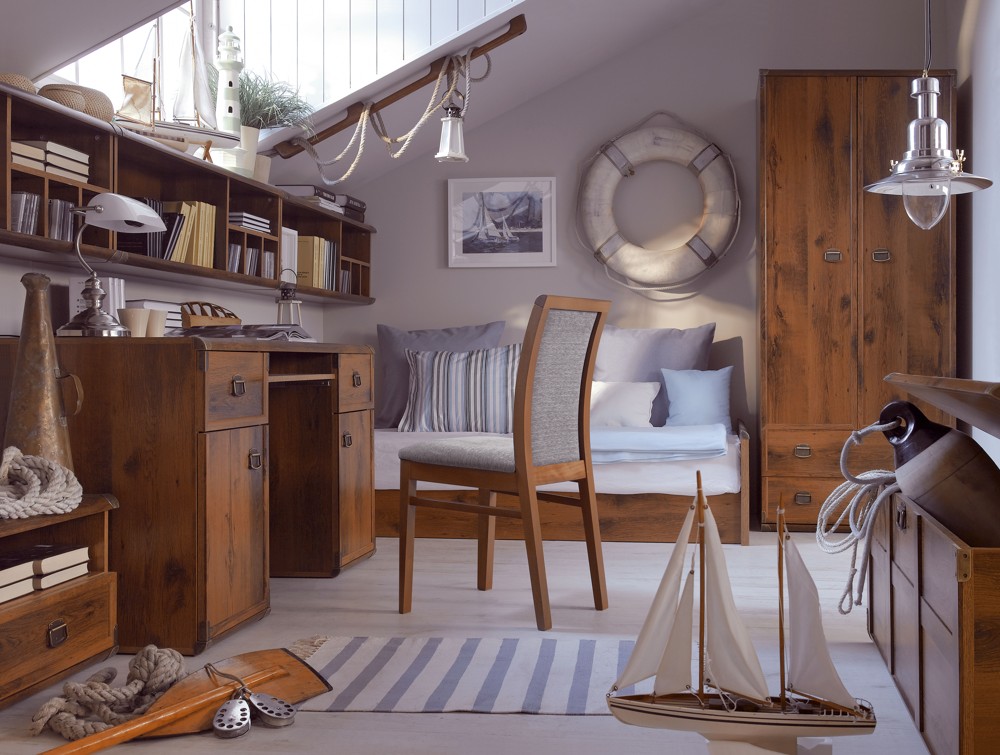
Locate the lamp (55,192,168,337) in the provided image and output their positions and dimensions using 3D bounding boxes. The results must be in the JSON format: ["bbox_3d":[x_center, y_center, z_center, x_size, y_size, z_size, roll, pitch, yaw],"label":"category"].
[{"bbox_3d":[-1.279,-0.362,2.921,0.366,0.448,0.292,6,10,34],"label":"lamp"}]

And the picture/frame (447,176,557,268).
[{"bbox_3d":[0.039,-0.856,4.967,0.515,0.388,0.011,0,-1,6],"label":"picture/frame"}]

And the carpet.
[{"bbox_3d":[-0.100,0.849,2.612,0.960,0.036,0.429,1,8,2],"label":"carpet"}]

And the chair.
[{"bbox_3d":[0.031,0.258,3.162,0.725,1.096,0.727,6,10,35],"label":"chair"}]
